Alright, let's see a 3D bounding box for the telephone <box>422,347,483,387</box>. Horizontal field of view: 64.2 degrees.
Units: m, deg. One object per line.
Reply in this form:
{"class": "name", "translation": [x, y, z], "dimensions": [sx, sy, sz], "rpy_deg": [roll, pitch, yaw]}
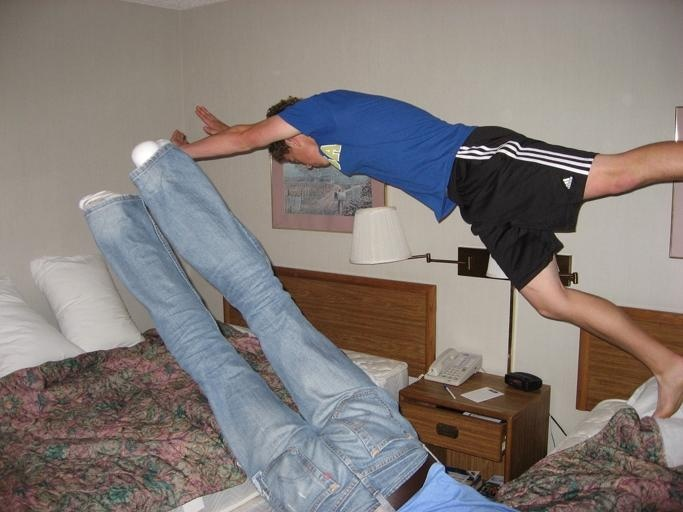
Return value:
{"class": "telephone", "translation": [0.710, 0.694, 3.439], "dimensions": [0.343, 0.116, 0.262], "rpy_deg": [-14, 12, -41]}

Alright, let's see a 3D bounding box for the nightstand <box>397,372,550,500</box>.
{"class": "nightstand", "translation": [0.799, 0.868, 3.298], "dimensions": [0.758, 0.722, 0.601], "rpy_deg": [5, 13, 31]}

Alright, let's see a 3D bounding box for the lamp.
{"class": "lamp", "translation": [0.478, -0.091, 3.326], "dimensions": [0.996, 0.385, 0.366], "rpy_deg": [2, 7, 2]}

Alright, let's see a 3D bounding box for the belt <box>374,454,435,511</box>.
{"class": "belt", "translation": [0.229, 0.739, 1.785], "dimensions": [0.067, 0.104, 0.304], "rpy_deg": [10, 21, 44]}
